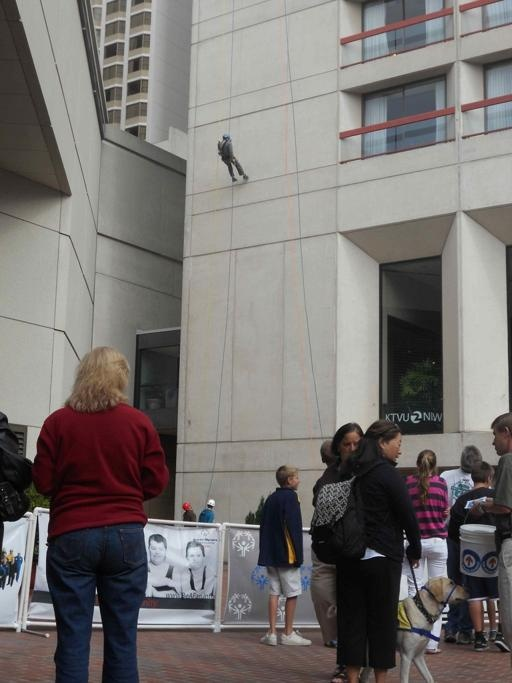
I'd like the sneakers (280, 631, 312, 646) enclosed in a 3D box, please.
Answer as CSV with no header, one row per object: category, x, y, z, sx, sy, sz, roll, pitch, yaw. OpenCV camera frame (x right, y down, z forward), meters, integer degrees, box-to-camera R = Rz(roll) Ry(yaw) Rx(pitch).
sneakers,0.395,2.785,7.233,0.302,0.159,0.124,2,-6,6

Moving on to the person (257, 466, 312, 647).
person,0.292,2.012,7.227,0.505,1.642,0.499,-5,-12,35
